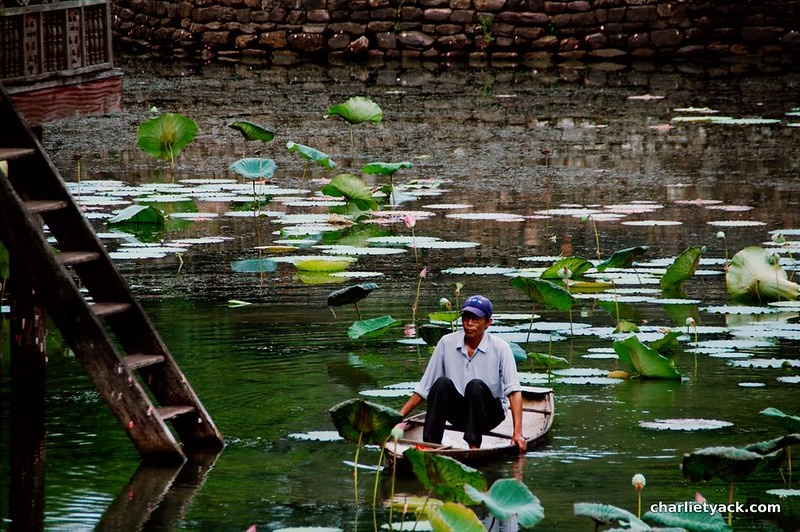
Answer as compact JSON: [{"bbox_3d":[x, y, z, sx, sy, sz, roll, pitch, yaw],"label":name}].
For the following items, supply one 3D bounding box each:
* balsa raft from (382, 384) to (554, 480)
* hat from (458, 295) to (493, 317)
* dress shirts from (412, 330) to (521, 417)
[{"bbox_3d":[0.774,1.283,11.756,0.680,0.158,1.069,11,18,38],"label":"balsa raft"},{"bbox_3d":[0.598,0.314,11.725,0.191,0.167,0.264,-2,4,10],"label":"hat"},{"bbox_3d":[0.560,0.764,11.996,1.121,0.643,0.569,4,-2,8],"label":"dress shirts"}]
